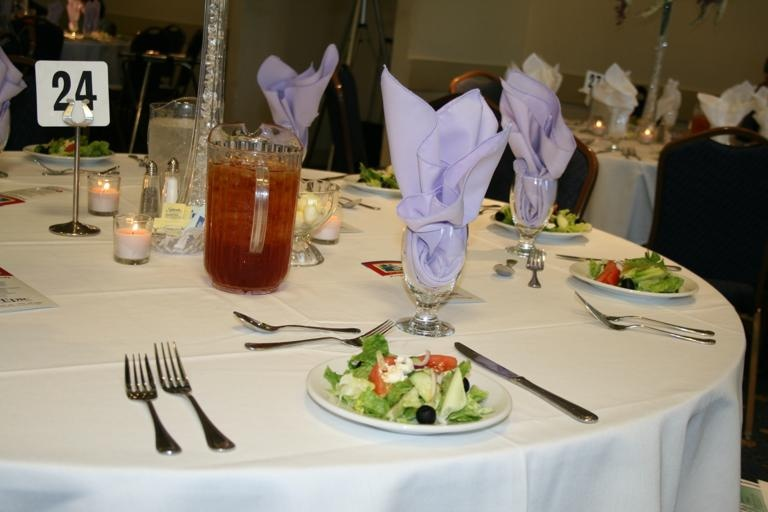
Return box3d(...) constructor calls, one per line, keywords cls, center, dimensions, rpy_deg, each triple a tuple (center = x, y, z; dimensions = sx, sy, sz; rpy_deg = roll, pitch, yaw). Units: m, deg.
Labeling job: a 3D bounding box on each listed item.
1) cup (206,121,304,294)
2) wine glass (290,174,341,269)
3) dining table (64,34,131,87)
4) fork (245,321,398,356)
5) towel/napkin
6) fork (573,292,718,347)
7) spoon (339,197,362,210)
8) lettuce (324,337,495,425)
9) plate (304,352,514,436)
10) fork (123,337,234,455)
box3d(cls="cup", center=(-0.275, -0.108, 1.311), dimensions=(0.188, 0.333, 0.313), rpy_deg=(7, 12, 3))
box3d(cls="wine glass", center=(-0.201, -0.083, 1.429), dimensions=(0.165, 0.202, 0.178), rpy_deg=(1, 12, 6))
box3d(cls="dining table", center=(-3.302, -2.251, 6.867), dimensions=(0.841, 0.487, 0.855), rpy_deg=(1, 24, -3))
box3d(cls="fork", center=(-0.122, 0.152, 1.059), dimensions=(0.211, 0.032, 0.029), rpy_deg=(-5, 23, -13))
box3d(cls="towel/napkin", center=(-0.228, -0.432, 1.554), dimensions=(0.229, 0.338, 0.130), rpy_deg=(-4, 11, -6))
box3d(cls="fork", center=(0.571, 0.145, 1.302), dimensions=(0.253, 0.051, 0.047), rpy_deg=(11, 20, 25))
box3d(cls="spoon", center=(-0.118, -0.173, 1.963), dimensions=(0.026, 0.027, 0.174), rpy_deg=(12, 1, -25))
box3d(cls="lettuce", center=(0.030, 0.200, 0.879), dimensions=(0.157, 0.057, 0.150), rpy_deg=(10, 9, 23))
box3d(cls="plate", center=(0.036, 0.216, 0.882), dimensions=(0.309, 0.044, 0.130), rpy_deg=(5, 15, -4))
box3d(cls="fork", center=(-0.328, 0.204, 0.886), dimensions=(0.091, 0.041, 0.289), rpy_deg=(-3, 30, -26))
